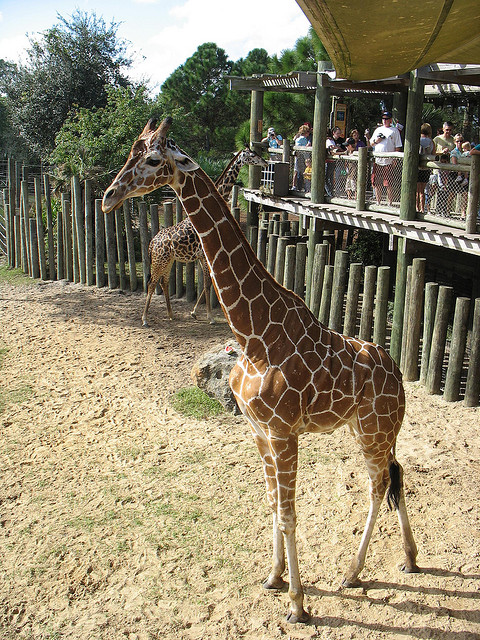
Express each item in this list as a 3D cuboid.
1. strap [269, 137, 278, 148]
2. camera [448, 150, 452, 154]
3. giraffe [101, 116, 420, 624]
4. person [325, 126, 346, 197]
[{"bbox_3d":[0.705,-3.716,12.113,0.316,0.077,0.312,3,-21,4],"label":"strap"},{"bbox_3d":[3.010,-2.408,8.285,0.026,0.083,0.028,22,40,18],"label":"camera"},{"bbox_3d":[0.238,0.297,3.277,1.729,2.762,0.677,-4,13,-17],"label":"giraffe"},{"bbox_3d":[1.648,-2.709,9.993,0.307,1.222,0.370,4,15,14],"label":"person"}]
